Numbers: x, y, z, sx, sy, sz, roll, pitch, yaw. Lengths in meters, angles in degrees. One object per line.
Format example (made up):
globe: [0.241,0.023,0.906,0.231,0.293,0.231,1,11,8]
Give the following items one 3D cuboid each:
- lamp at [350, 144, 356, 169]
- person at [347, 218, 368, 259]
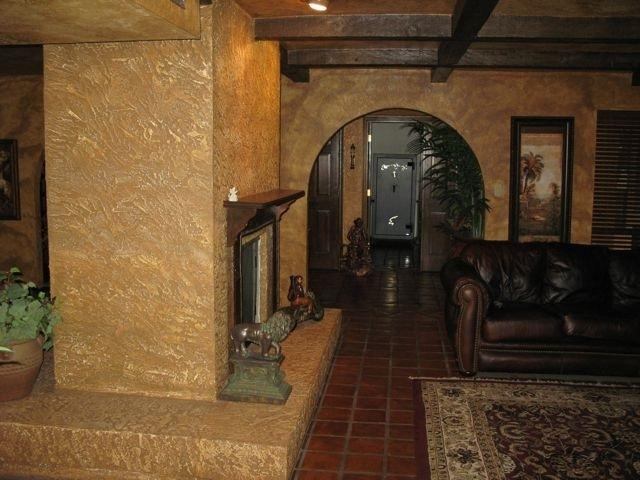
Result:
lamp: [0.615,-1.548,9.464,0.108,0.460,0.037,1,3,0]
person: [0.673,-0.026,8.895,0.352,0.715,0.288,1,3,1]
